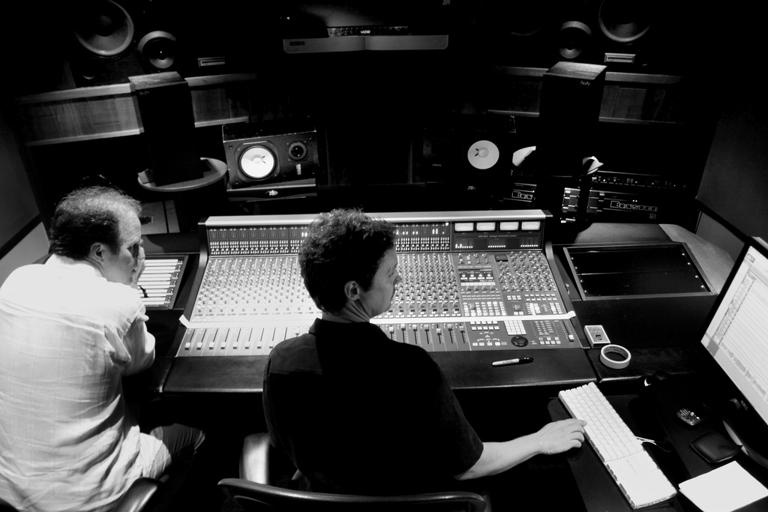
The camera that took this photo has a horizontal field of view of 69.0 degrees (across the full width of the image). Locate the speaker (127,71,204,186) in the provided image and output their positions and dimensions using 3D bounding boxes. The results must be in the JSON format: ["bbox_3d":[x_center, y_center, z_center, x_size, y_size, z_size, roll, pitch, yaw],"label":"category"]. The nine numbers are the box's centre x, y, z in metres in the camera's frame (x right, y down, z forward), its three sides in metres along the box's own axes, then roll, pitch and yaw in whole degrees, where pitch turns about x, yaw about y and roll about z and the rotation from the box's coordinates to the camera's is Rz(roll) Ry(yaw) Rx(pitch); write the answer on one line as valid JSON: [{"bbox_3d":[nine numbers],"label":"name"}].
[{"bbox_3d":[-1.425,-0.834,3.671,0.372,0.711,0.156,-8,23,-23],"label":"speaker"}]

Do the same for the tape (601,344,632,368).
[{"bbox_3d":[1.245,0.539,2.998,0.167,0.086,0.130,6,20,13],"label":"tape"}]

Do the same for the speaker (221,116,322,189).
[{"bbox_3d":[-0.788,-0.759,3.887,0.839,0.500,0.452,-5,30,-9],"label":"speaker"}]

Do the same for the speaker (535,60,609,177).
[{"bbox_3d":[1.189,-0.883,3.628,0.365,0.712,0.246,7,21,15],"label":"speaker"}]

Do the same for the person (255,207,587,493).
[{"bbox_3d":[0.087,0.493,2.380,1.193,1.299,0.518,-2,21,-10],"label":"person"}]
